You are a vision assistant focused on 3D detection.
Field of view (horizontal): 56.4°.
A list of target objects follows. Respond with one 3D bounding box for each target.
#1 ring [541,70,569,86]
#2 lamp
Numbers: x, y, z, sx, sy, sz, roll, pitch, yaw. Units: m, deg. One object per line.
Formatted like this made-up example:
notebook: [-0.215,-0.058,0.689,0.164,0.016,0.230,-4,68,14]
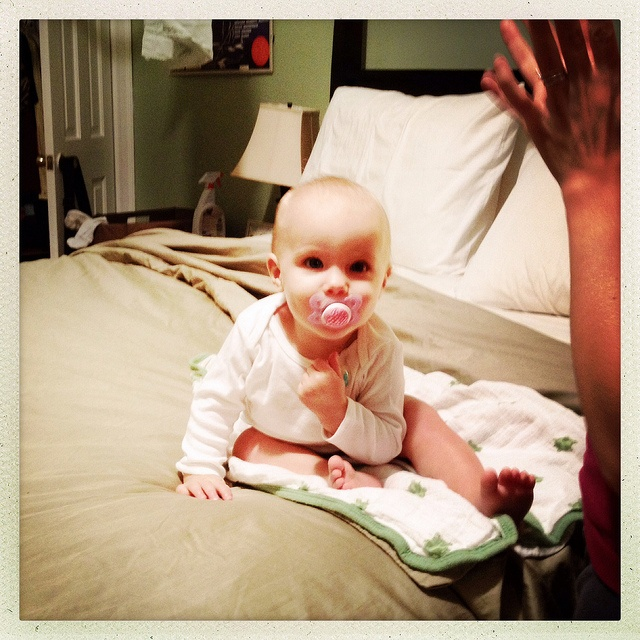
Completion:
ring: [0.411,-0.420,1.041,0.027,0.014,0.022,-27,-9,6]
lamp: [-0.108,-0.393,1.419,0.175,0.205,0.193,15,37,1]
